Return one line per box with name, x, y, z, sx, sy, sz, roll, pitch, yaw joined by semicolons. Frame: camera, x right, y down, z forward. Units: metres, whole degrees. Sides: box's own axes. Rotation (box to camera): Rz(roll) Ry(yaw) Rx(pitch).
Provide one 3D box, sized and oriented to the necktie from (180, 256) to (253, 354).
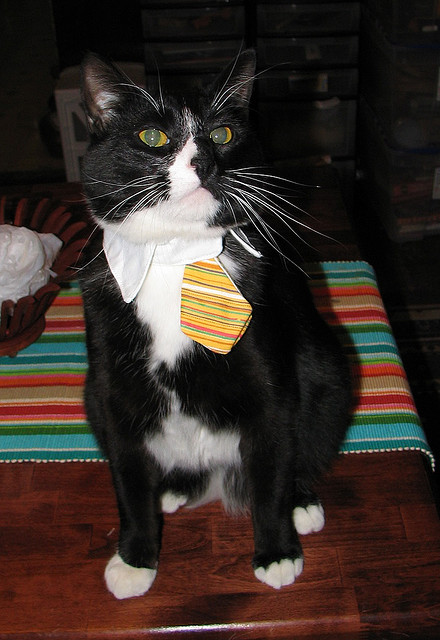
necktie;-0.008;-0.016;0.612;0.098;0.029;0.104;16;75;-4
